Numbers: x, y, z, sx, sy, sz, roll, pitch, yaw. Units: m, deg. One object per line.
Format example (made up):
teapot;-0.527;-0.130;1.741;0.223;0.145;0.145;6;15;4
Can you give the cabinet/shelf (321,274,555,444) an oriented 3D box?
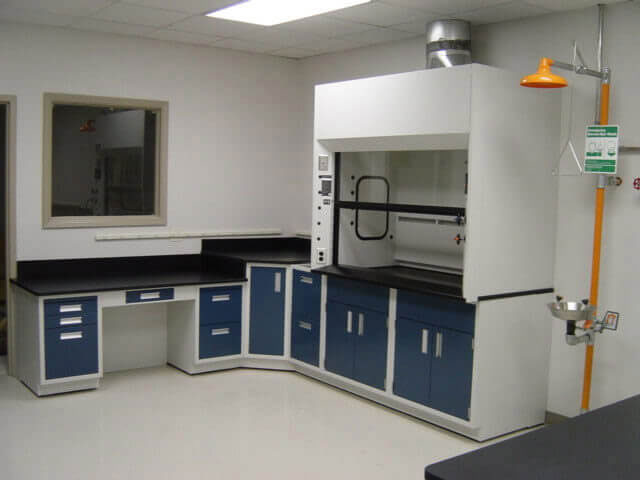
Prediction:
cabinet/shelf;1.115;0.647;4.140;0.894;1.096;1.674;1;3;-38

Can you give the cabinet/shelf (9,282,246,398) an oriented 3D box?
cabinet/shelf;-1.783;0.821;4.766;1.795;0.911;0.758;-5;8;-32

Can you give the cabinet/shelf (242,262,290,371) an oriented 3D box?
cabinet/shelf;-0.483;0.702;5.188;0.460;0.907;0.414;-5;6;1
